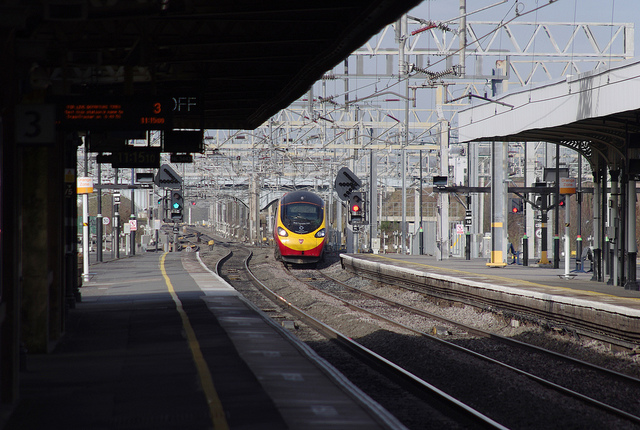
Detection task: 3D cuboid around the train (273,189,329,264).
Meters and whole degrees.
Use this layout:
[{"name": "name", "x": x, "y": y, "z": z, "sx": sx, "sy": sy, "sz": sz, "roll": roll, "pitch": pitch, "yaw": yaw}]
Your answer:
[{"name": "train", "x": -1.002, "y": 0.698, "z": 42.682, "sx": 2.830, "sy": 4.122, "sz": 3.236, "roll": 3, "pitch": 3, "yaw": -5}]

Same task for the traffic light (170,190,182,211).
[{"name": "traffic light", "x": -7.680, "y": -0.842, "z": 41.056, "sx": 0.648, "sy": 1.079, "sz": 0.494, "roll": 2, "pitch": 3, "yaw": -15}]

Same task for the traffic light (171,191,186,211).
[{"name": "traffic light", "x": -7.673, "y": -0.746, "z": 41.093, "sx": 0.600, "sy": 1.006, "sz": 0.528, "roll": 2, "pitch": 3, "yaw": -16}]
